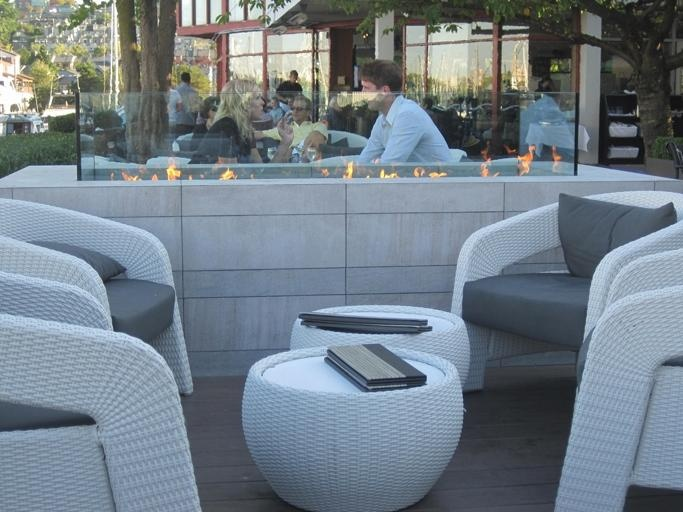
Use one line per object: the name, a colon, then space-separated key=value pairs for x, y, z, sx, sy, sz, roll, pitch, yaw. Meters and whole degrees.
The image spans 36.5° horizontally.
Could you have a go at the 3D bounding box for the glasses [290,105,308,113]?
glasses: x=-0.235 y=-0.841 z=5.967 sx=0.105 sy=0.034 sz=0.014 roll=-1 pitch=8 yaw=-9

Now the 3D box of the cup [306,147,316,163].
cup: x=-0.177 y=-0.584 z=6.087 sx=0.058 sy=0.087 sz=0.067 roll=5 pitch=12 yaw=16

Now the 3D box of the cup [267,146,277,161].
cup: x=-0.412 y=-0.598 z=6.070 sx=0.057 sy=0.075 sz=0.055 roll=3 pitch=0 yaw=0

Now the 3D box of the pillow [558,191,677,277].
pillow: x=1.407 y=-0.103 z=5.232 sx=0.305 sy=0.282 sz=0.126 roll=12 pitch=-19 yaw=42

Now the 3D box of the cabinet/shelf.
cabinet/shelf: x=4.223 y=-1.871 z=15.471 sx=0.662 sy=1.047 sz=0.451 roll=0 pitch=7 yaw=0
